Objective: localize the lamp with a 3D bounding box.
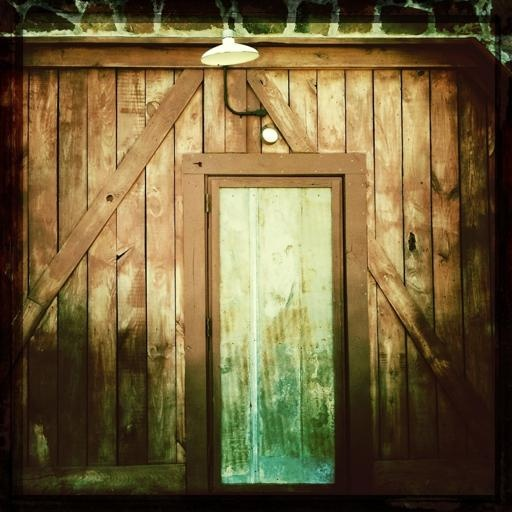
[{"bbox_3d":[-0.151,-1.315,5.211,0.412,0.736,0.462,-3,-10,1],"label":"lamp"}]
